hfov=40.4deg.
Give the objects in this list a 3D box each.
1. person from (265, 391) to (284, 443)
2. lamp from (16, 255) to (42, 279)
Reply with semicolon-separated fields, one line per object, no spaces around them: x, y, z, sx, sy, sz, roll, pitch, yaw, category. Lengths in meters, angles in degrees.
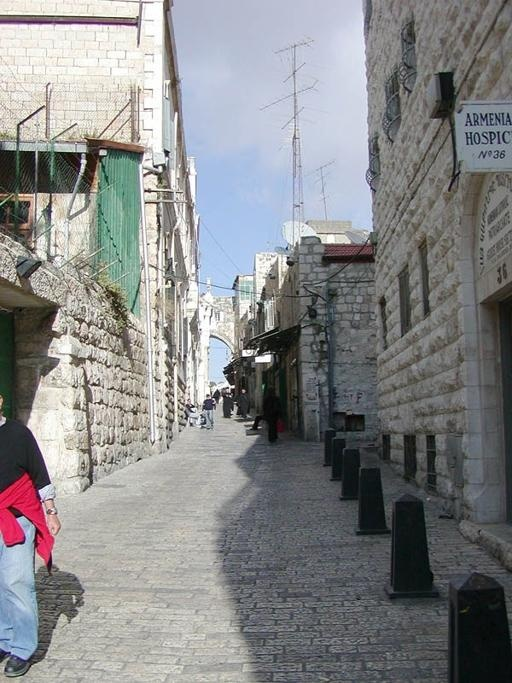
0.421;2.118;19.744;0.459;1.448;0.897;-1;-3;4;person
-2.405;-0.752;7.276;0.190;0.195;0.231;-11;-28;-48;lamp
